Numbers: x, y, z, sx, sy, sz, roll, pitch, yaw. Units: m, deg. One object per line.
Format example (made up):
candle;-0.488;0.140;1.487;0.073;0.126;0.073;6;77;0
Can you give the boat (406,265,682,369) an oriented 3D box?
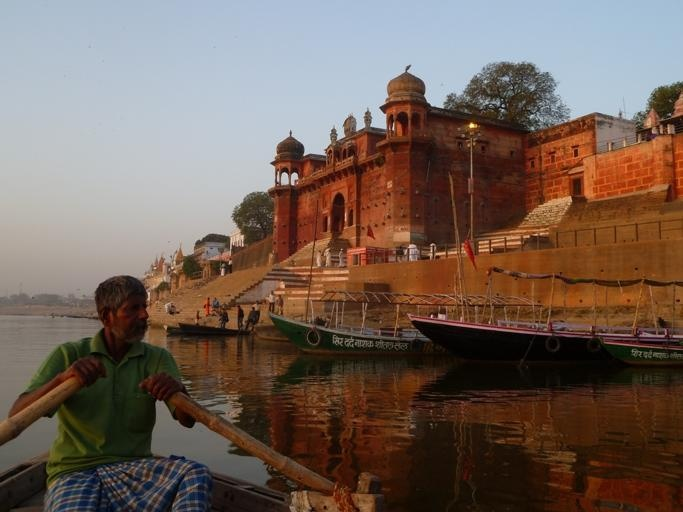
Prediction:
boat;4.689;1.509;18.402;6.059;2.177;2.777;1;-5;-1

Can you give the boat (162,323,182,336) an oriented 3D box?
boat;-6.505;2.872;28.489;0.382;0.412;1.546;-8;-5;-28
